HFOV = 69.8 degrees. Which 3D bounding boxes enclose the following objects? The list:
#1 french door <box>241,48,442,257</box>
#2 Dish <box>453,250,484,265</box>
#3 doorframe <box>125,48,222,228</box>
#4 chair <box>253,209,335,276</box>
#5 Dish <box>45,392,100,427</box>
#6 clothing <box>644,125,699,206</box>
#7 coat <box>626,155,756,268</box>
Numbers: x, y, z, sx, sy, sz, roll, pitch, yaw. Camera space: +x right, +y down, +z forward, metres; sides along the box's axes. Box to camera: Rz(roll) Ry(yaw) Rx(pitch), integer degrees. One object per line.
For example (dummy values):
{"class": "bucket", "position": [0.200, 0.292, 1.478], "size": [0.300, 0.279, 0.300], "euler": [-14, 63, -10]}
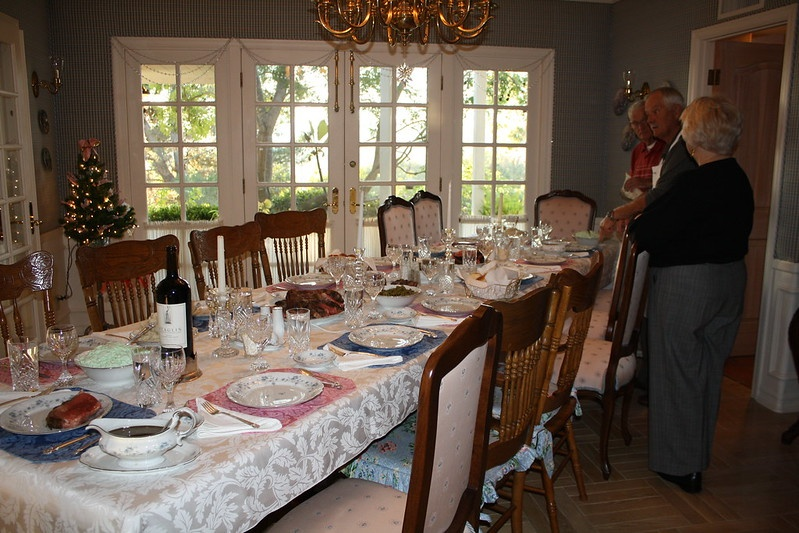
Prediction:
{"class": "french door", "position": [-0.610, -1.195, 5.517], "size": [2.065, 2.589, 0.266], "euler": [0, 5, -6]}
{"class": "Dish", "position": [0.449, -0.062, 3.851], "size": [0.141, 0.110, 0.138], "euler": [-3, 7, -31]}
{"class": "doorframe", "position": [-2.189, -1.213, 5.641], "size": [0.893, 1.571, 0.077], "euler": [-4, 9, -4]}
{"class": "chair", "position": [-0.830, -0.200, 4.423], "size": [0.442, 0.753, 0.477], "euler": [-7, 27, -23]}
{"class": "Dish", "position": [-1.082, 0.483, 1.912], "size": [0.123, 0.061, 0.174], "euler": [12, 15, 9]}
{"class": "clothing", "position": [1.692, -0.608, 3.642], "size": [0.254, 0.495, 0.405], "euler": [-1, 31, 22]}
{"class": "coat", "position": [1.726, -0.314, 3.324], "size": [0.686, 0.707, 0.510], "euler": [2, 4, -28]}
